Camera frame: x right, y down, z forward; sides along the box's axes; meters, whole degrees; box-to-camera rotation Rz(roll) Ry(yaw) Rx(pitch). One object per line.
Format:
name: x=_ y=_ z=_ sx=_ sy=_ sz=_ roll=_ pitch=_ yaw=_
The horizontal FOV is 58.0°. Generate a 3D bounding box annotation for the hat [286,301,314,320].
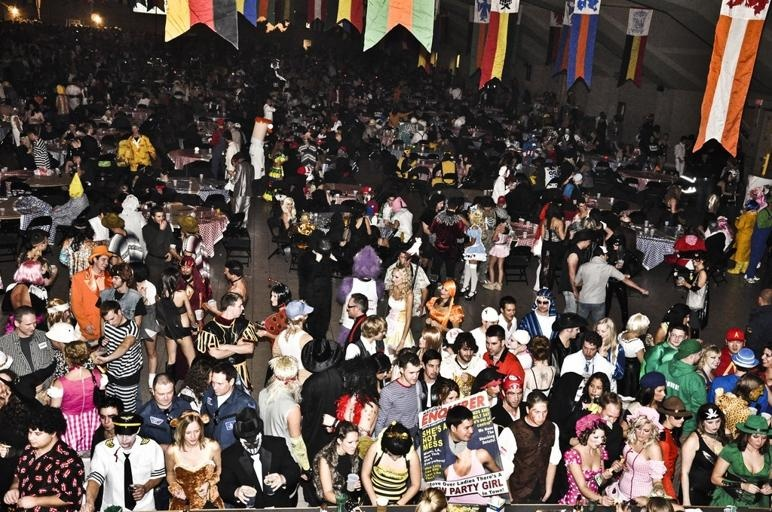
hat: x=-1.026 y=0.658 z=8.427 sx=0.291 sy=0.155 sz=0.199 roll=-10 pitch=48 yaw=-15

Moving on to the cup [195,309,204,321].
cup: x=-2.756 y=0.882 z=10.245 sx=0.135 sy=0.131 sz=0.130 roll=-1 pitch=4 yaw=0

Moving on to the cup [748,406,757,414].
cup: x=4.323 y=1.801 z=8.136 sx=0.085 sy=0.083 sz=0.079 roll=1 pitch=52 yaw=-2

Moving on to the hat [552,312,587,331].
hat: x=2.453 y=0.885 z=9.206 sx=0.404 sy=0.263 sz=0.216 roll=1 pitch=10 yaw=5

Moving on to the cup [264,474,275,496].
cup: x=-1.193 y=2.360 z=7.185 sx=0.157 sy=0.157 sz=0.158 roll=3 pitch=2 yaw=0

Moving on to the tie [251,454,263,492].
tie: x=-1.292 y=2.225 z=7.113 sx=0.117 sy=0.338 sz=0.018 roll=-10 pitch=-8 yaw=-9

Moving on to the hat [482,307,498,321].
hat: x=1.399 y=0.788 z=9.158 sx=0.189 sy=0.185 sz=0.225 roll=5 pitch=24 yaw=6

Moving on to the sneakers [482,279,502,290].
sneakers: x=2.176 y=0.594 z=13.987 sx=0.350 sy=0.146 sz=0.152 roll=20 pitch=31 yaw=37

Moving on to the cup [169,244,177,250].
cup: x=-3.399 y=-0.142 z=11.150 sx=0.067 sy=0.082 sz=0.105 roll=8 pitch=13 yaw=40

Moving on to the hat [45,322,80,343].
hat: x=-3.963 y=0.954 z=8.502 sx=0.372 sy=0.254 sz=0.411 roll=-4 pitch=11 yaw=-21

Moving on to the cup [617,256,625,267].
cup: x=3.926 y=0.112 z=11.585 sx=0.101 sy=0.167 sz=0.169 roll=9 pitch=-6 yaw=3

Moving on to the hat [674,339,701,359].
hat: x=3.795 y=1.148 z=8.697 sx=0.299 sy=0.151 sz=0.209 roll=-13 pitch=19 yaw=-5

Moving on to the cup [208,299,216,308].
cup: x=-2.585 y=0.712 z=10.325 sx=0.110 sy=0.132 sz=0.115 roll=3 pitch=49 yaw=-4

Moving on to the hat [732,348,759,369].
hat: x=4.666 y=1.331 z=8.945 sx=0.288 sy=0.288 sz=0.288 roll=2 pitch=10 yaw=13

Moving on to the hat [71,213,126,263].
hat: x=-4.472 y=-0.318 z=10.985 sx=0.705 sy=0.979 sz=0.509 roll=-7 pitch=-10 yaw=-41

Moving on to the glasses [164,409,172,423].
glasses: x=-2.438 y=1.780 z=7.767 sx=0.056 sy=0.101 sz=0.130 roll=-4 pitch=11 yaw=-20

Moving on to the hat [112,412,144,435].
hat: x=-2.648 y=1.721 z=7.168 sx=0.288 sy=0.182 sz=0.269 roll=-9 pitch=13 yaw=-40

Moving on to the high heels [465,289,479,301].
high heels: x=1.732 y=0.759 z=13.588 sx=0.245 sy=0.163 sz=0.133 roll=-4 pitch=10 yaw=-33

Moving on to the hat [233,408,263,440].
hat: x=-1.399 y=1.711 z=7.099 sx=0.279 sy=0.297 sz=0.156 roll=-3 pitch=11 yaw=-15

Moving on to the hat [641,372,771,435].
hat: x=3.787 y=1.752 z=8.188 sx=0.271 sy=0.735 sz=0.313 roll=26 pitch=38 yaw=-37

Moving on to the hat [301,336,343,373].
hat: x=-0.747 y=1.078 z=8.068 sx=0.472 sy=0.190 sz=0.522 roll=-8 pitch=36 yaw=16
